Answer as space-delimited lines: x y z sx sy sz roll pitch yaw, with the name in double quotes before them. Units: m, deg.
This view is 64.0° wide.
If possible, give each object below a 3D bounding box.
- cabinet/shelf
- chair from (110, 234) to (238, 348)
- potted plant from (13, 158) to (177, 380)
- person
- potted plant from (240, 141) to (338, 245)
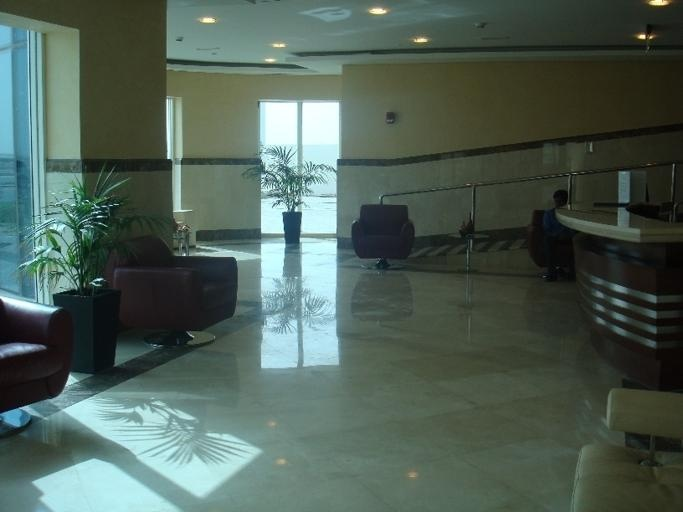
"cabinet/shelf" 0.759 -0.333 10.067 1.060 1.255 0.916 1 1 6
"chair" -1.732 0.265 6.037 1.109 1.225 1.276 2 6 11
"potted plant" -2.565 -0.002 5.727 1.588 1.814 3.393 -3 10 -16
"person" 3.578 -0.315 9.056 0.523 1.484 0.719 4 10 20
"potted plant" -1.185 -1.605 13.432 2.366 2.606 2.104 1 -2 18
